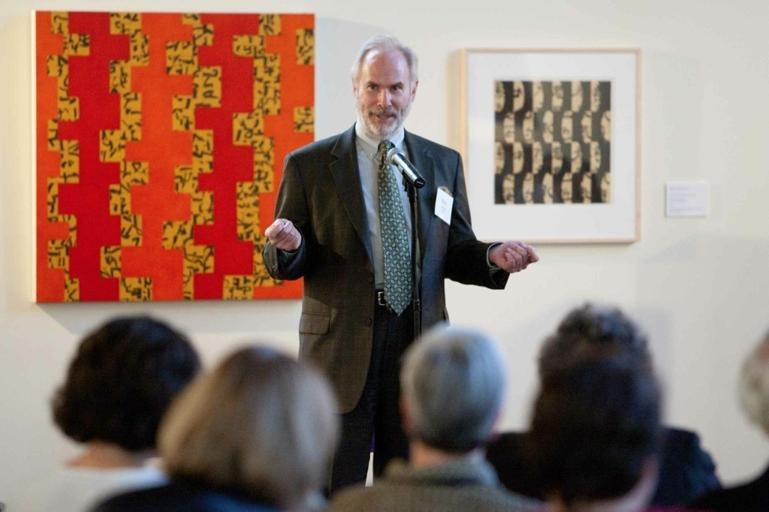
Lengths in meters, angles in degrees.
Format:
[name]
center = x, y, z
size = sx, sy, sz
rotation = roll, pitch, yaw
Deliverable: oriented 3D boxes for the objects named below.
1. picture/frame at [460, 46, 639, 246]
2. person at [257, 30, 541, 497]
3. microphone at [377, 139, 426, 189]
[picture/frame]
center = 0.883, -0.649, 4.159
size = 1.145, 1.118, 0.048
rotation = 0, 1, 2
[person]
center = 0.010, 0.373, 3.186
size = 1.111, 2.475, 0.833
rotation = 0, 3, -11
[microphone]
center = 0.056, -0.380, 3.084
size = 0.115, 0.161, 0.364
rotation = -1, 12, -11
